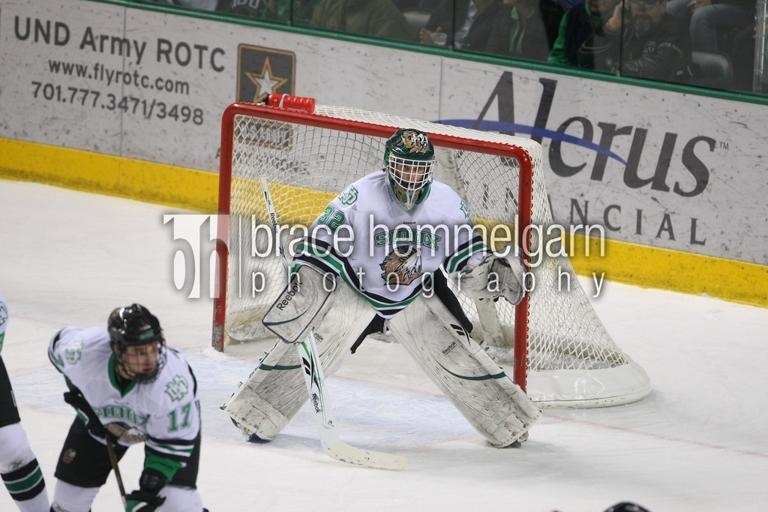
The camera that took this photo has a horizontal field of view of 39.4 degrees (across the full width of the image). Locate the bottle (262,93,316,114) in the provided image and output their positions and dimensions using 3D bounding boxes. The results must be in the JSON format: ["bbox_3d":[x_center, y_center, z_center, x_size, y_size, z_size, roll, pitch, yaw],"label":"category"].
[{"bbox_3d":[-0.634,-1.024,7.140,0.314,0.158,0.099,7,-11,14],"label":"bottle"}]

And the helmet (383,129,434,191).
[{"bbox_3d":[0.105,-0.525,5.882,0.261,0.298,0.324,0,22,-9],"label":"helmet"}]
